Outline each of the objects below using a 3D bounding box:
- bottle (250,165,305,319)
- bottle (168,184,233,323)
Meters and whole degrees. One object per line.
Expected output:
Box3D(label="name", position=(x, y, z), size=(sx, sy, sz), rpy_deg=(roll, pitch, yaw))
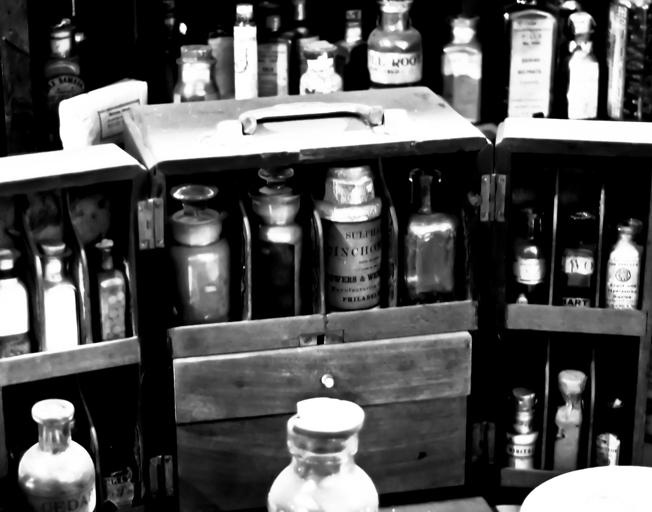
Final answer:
Box3D(label="bottle", position=(-0.092, -0.007, 1.672), size=(0.093, 0.345, 0.098), rpy_deg=(0, 26, 0))
Box3D(label="bottle", position=(-0.239, -0.002, 1.617), size=(0.111, 0.250, 0.101), rpy_deg=(-7, 15, -10))
